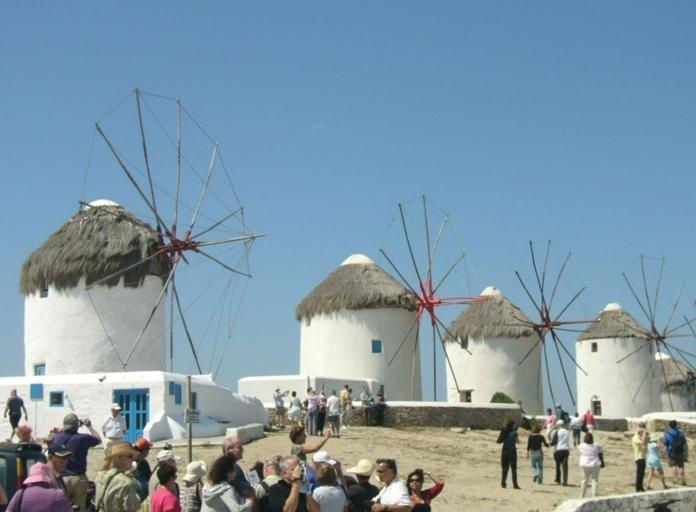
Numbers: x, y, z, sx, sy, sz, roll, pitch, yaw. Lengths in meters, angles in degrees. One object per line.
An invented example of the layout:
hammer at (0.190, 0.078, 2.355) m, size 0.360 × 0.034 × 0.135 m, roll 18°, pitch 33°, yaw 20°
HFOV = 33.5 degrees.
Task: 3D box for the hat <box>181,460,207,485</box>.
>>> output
hat at (-3.000, 4.209, 22.533) m, size 0.400 × 0.432 × 0.554 m, roll 0°, pitch -12°, yaw -4°

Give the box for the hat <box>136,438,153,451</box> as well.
hat at (-4.093, 3.806, 23.179) m, size 0.227 × 0.194 × 0.337 m, roll -1°, pitch 3°, yaw 14°

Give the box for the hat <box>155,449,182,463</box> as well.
hat at (-3.470, 3.916, 22.718) m, size 0.631 × 0.237 × 0.428 m, roll 6°, pitch -5°, yaw -43°

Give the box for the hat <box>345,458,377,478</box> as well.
hat at (0.276, 4.170, 22.876) m, size 0.585 × 0.290 × 0.739 m, roll 0°, pitch -9°, yaw -14°

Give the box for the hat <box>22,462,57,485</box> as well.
hat at (-5.683, 4.034, 21.384) m, size 0.384 × 0.282 × 0.444 m, roll 9°, pitch -17°, yaw -35°

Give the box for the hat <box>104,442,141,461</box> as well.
hat at (-4.317, 3.729, 22.181) m, size 0.433 × 0.165 × 0.391 m, roll -9°, pitch -6°, yaw -26°

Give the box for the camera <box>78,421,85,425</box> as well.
camera at (-5.677, 3.520, 24.556) m, size 0.132 × 0.109 × 0.077 m, roll 1°, pitch -1°, yaw 12°

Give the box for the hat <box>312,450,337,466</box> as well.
hat at (-0.467, 3.871, 22.150) m, size 0.425 × 0.288 × 0.509 m, roll -1°, pitch -12°, yaw 0°
